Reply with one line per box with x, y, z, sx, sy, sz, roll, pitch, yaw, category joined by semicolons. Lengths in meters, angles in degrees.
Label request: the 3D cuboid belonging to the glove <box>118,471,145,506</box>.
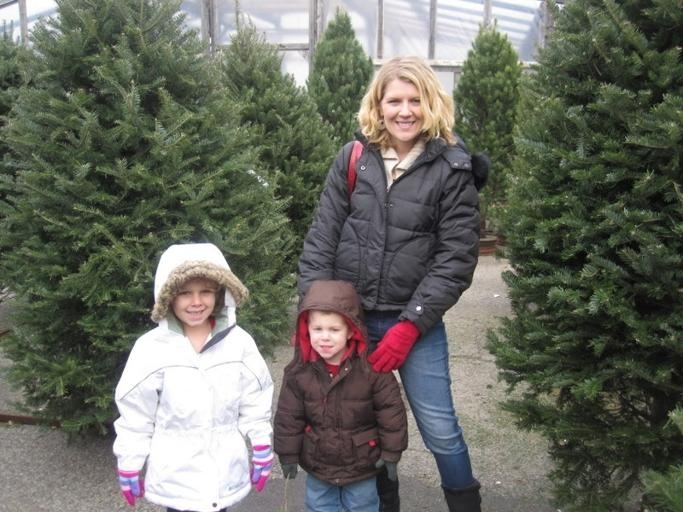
-1.116;1.260;3.395;0.082;0.232;0.151;5;13;16;glove
